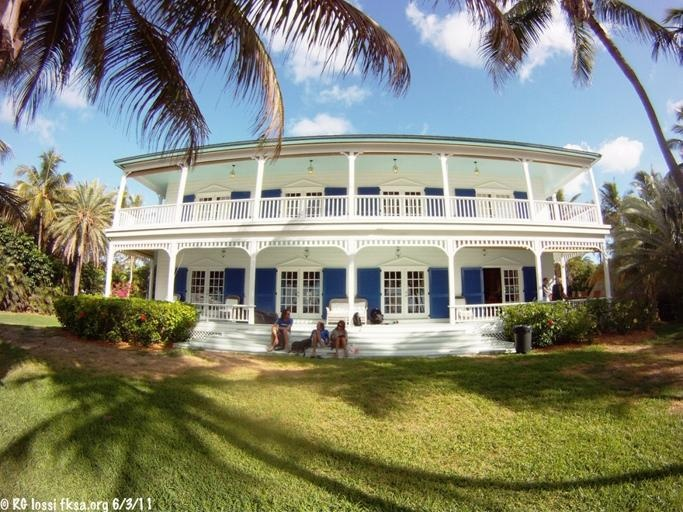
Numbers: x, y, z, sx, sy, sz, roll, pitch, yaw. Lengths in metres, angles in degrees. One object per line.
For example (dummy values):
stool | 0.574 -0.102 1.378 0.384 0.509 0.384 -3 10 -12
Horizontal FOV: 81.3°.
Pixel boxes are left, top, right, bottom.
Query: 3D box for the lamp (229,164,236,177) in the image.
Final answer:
lamp | -5.022 -3.978 18.283 0.324 0.628 0.324 -2 -20 0

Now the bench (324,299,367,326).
bench | 0.207 2.165 15.804 1.537 1.168 0.941 -2 -17 4

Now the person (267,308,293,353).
person | -2.159 2.538 13.730 0.783 1.374 0.762 0 6 6

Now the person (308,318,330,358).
person | -0.784 2.791 13.437 0.648 0.999 1.231 2 7 29

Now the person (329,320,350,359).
person | -0.028 2.736 13.251 0.687 1.168 0.811 -2 6 -11
